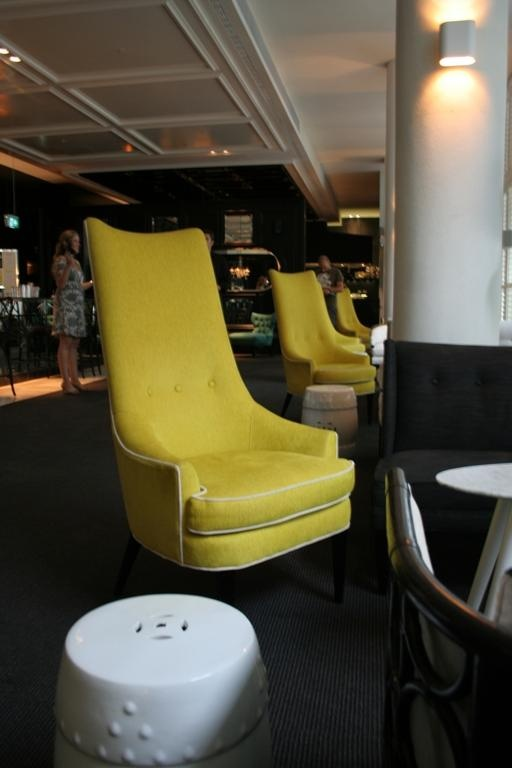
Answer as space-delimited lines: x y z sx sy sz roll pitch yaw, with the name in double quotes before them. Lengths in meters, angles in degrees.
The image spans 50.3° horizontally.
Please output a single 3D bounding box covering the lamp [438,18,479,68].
"lamp" 0.911 -1.535 2.438 0.195 0.248 0.122 1 2 17
